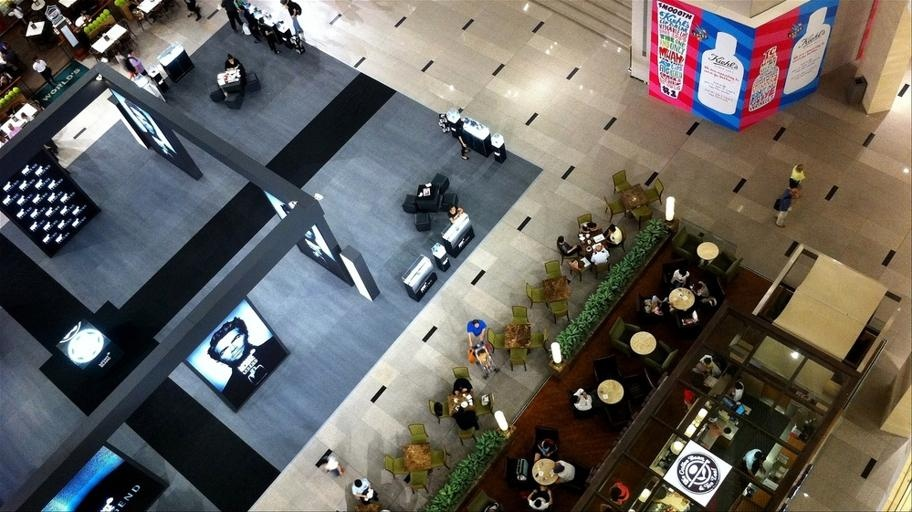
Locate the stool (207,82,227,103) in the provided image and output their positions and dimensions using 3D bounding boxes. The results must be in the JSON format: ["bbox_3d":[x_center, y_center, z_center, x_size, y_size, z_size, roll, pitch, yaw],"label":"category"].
[{"bbox_3d":[-9.634,-6.796,27.226,0.639,1.094,0.602,4,69,-5],"label":"stool"}]

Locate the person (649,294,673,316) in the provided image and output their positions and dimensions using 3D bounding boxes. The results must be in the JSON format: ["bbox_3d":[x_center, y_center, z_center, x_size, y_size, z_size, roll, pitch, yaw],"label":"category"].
[{"bbox_3d":[6.686,1.600,22.143,0.510,0.322,0.732,-6,45,12],"label":"person"}]

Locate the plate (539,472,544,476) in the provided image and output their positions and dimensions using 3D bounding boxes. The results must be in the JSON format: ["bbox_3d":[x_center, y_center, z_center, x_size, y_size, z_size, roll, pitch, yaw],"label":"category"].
[{"bbox_3d":[2.594,6.622,20.516,0.121,0.048,0.106,-2,54,-13],"label":"plate"}]

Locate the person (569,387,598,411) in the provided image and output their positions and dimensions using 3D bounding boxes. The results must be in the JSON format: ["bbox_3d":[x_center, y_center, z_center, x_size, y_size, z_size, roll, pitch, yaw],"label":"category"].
[{"bbox_3d":[4.006,4.497,21.335,0.720,0.549,0.599,5,53,-8],"label":"person"}]

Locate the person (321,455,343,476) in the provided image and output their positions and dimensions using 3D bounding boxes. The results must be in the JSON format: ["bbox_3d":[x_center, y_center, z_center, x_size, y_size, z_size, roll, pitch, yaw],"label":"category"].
[{"bbox_3d":[-3.986,6.738,21.644,0.547,0.223,0.741,-33,81,-12],"label":"person"}]

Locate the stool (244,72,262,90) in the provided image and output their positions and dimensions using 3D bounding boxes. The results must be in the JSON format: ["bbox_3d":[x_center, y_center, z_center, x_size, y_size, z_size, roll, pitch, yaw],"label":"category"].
[{"bbox_3d":[-8.278,-7.294,27.262,0.536,0.526,0.383,39,67,22],"label":"stool"}]

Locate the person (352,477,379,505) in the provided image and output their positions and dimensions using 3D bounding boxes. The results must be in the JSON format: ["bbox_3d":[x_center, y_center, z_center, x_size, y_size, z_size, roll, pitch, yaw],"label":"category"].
[{"bbox_3d":[-2.927,7.416,21.099,0.388,0.929,0.759,-40,41,2],"label":"person"}]

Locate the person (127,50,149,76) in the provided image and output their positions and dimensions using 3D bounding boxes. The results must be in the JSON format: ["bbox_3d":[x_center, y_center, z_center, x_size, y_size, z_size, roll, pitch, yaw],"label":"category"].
[{"bbox_3d":[-13.251,-8.216,27.948,0.424,1.406,0.492,-15,89,0],"label":"person"}]

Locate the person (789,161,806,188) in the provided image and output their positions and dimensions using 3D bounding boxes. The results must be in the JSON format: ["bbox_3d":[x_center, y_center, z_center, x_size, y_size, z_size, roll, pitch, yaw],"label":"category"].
[{"bbox_3d":[11.702,-2.803,22.825,0.298,0.667,1.036,10,99,-7],"label":"person"}]

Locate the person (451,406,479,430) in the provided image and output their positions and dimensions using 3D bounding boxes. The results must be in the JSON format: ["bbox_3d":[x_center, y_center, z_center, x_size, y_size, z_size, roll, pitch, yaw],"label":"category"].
[{"bbox_3d":[0.314,5.156,21.509,0.624,0.454,0.758,-27,63,-28],"label":"person"}]

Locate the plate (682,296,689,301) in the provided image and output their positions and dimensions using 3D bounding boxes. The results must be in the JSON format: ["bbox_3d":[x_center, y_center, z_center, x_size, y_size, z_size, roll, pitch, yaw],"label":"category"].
[{"bbox_3d":[7.455,1.283,21.889,0.194,0.070,0.152,7,53,-7],"label":"plate"}]

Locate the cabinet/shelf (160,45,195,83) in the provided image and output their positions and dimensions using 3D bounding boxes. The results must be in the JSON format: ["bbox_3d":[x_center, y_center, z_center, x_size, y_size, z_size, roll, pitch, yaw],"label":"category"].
[{"bbox_3d":[-11.556,-8.103,27.788,0.816,1.435,1.211,44,78,8],"label":"cabinet/shelf"}]

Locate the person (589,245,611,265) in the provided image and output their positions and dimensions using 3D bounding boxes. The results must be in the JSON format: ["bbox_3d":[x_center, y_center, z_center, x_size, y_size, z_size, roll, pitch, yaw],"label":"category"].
[{"bbox_3d":[4.837,-0.162,22.820,0.709,1.191,0.650,-6,79,5],"label":"person"}]

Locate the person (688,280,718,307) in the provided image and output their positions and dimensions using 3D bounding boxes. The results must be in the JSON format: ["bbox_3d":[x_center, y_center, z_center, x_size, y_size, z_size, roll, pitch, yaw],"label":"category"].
[{"bbox_3d":[8.088,1.176,22.074,0.778,0.427,0.331,41,89,-19],"label":"person"}]
